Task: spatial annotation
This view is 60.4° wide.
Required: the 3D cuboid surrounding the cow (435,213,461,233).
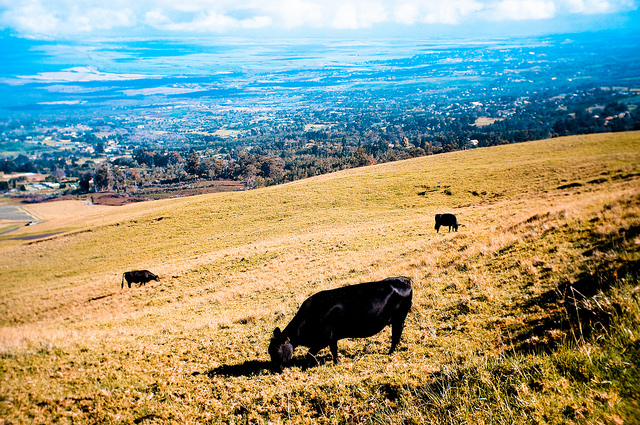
[{"bbox_3d":[10.711,0.779,46.516,1.939,1.348,1.068,-2,15,33],"label":"cow"}]
